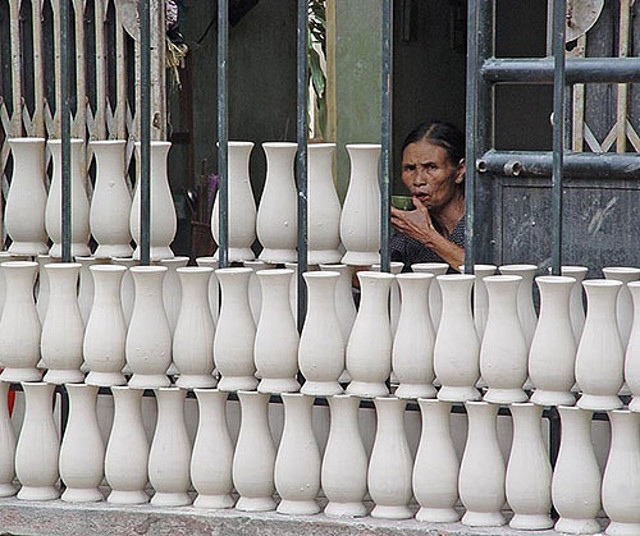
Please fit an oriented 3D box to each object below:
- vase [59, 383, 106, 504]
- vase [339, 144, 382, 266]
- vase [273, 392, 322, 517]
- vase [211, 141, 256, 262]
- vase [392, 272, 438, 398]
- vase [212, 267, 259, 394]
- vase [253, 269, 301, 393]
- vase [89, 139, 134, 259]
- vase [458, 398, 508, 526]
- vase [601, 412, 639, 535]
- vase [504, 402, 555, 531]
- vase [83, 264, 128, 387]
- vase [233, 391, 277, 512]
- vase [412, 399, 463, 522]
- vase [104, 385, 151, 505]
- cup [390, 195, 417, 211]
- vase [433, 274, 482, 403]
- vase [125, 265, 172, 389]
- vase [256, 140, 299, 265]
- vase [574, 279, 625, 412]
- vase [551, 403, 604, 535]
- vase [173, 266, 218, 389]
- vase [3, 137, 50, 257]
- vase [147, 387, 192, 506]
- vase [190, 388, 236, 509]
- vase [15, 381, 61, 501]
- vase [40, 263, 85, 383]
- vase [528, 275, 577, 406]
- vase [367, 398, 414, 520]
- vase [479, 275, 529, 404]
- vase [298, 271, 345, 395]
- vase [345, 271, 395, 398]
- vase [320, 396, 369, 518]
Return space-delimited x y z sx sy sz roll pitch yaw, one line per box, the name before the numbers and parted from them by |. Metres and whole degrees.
vase | -0.733 0.547 5.958 0.145 0.320 0.249 3 -31 -7
vase | 0.125 -0.192 5.900 0.120 0.315 0.202 -1 -30 0
vase | -0.068 0.570 5.824 0.149 0.322 0.230 0 -30 -1
vase | -0.259 -0.212 6.075 0.126 0.390 0.140 5 -6 -6
vase | 0.280 0.201 5.744 0.133 0.320 0.237 -2 -30 2
vase | -0.253 0.188 5.826 0.137 0.298 0.238 1 -30 -3
vase | -0.129 0.189 5.806 0.134 0.324 0.221 0 -30 -1
vase | -0.661 -0.246 6.115 0.143 0.387 0.237 2 -30 -6
vase | 0.482 0.585 5.719 0.140 0.313 0.228 -3 -30 4
vase | 0.884 0.601 5.626 0.124 0.309 0.196 -5 -30 7
vase | 0.617 0.594 5.688 0.137 0.316 0.219 -4 -30 5
vase | -0.658 0.180 5.952 0.125 0.138 0.371 3 -73 0
vase | -0.198 0.566 5.859 0.134 0.302 0.222 0 -30 -1
vase | 0.346 0.578 5.748 0.143 0.309 0.241 -2 -30 3
vase | -0.591 0.549 5.937 0.140 0.319 0.223 2 -30 -6
cup | 0.322 -0.254 7.305 0.073 0.059 0.075 0 3 0
vase | 0.406 0.213 5.717 0.145 0.339 0.266 -3 -30 3
vase | -0.524 0.140 5.912 0.145 0.402 0.227 2 -30 -5
vase | -0.134 -0.224 5.959 0.127 0.332 0.274 0 -31 -2
vase | 0.814 0.231 5.614 0.146 0.322 0.246 -3 -30 5
vase | 0.753 0.595 5.659 0.155 0.321 0.269 -4 -31 6
vase | -0.382 0.134 5.919 0.140 0.426 0.235 2 -30 -4
vase | -0.933 -0.256 6.165 0.142 0.404 0.306 4 -31 -8
vase | -0.460 0.548 5.929 0.140 0.330 0.220 2 -30 -5
vase | -0.326 0.558 5.894 0.136 0.310 0.214 1 -30 -3
vase | -0.882 0.531 6.029 0.147 0.378 0.262 2 -30 -5
vase | -0.792 0.175 5.951 0.138 0.300 0.236 3 -31 -7
vase | 0.682 0.193 5.636 0.147 0.360 0.223 -3 -30 3
vase | 0.210 0.578 5.783 0.138 0.309 0.211 -2 -30 2
vase | 0.550 0.201 5.702 0.145 0.157 0.386 -8 -72 -15
vase | 0.004 0.178 5.779 0.140 0.336 0.227 0 -30 -1
vase | 0.149 0.195 5.778 0.150 0.340 0.254 -1 -30 1
vase | 0.074 0.577 5.814 0.149 0.318 0.217 -1 -30 0
